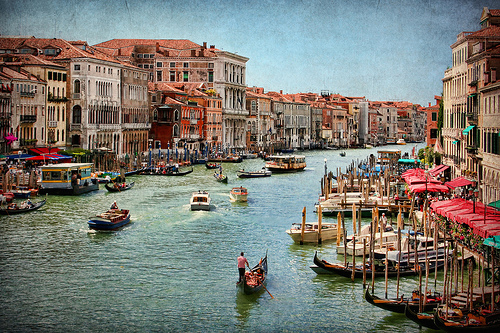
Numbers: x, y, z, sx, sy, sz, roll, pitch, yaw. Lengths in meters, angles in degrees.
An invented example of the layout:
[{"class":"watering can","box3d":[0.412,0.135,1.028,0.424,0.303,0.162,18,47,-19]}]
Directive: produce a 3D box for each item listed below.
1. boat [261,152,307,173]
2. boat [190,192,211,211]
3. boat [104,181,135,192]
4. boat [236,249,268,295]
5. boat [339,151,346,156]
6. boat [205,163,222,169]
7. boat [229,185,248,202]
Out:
[{"class":"boat","box3d":[5.753,-0.450,99.088,6.692,2.364,2.978,-4,6,-44]},{"class":"boat","box3d":[-4.599,3.325,56.943,1.872,1.473,2.046,-1,1,-6]},{"class":"boat","box3d":[-14.421,2.246,69.716,1.243,1.228,5.258,3,0,20]},{"class":"boat","box3d":[0.323,6.536,36.387,0.792,0.972,3.076,8,14,12]},{"class":"boat","box3d":[21.307,-2.862,142.308,1.592,0.994,2.186,0,3,6]},{"class":"boat","box3d":[-6.093,-0.072,100.550,1.085,1.303,4.140,1,-3,28]},{"class":"boat","box3d":[-1.192,2.934,63.181,1.688,1.387,1.676,-1,1,-7]}]
